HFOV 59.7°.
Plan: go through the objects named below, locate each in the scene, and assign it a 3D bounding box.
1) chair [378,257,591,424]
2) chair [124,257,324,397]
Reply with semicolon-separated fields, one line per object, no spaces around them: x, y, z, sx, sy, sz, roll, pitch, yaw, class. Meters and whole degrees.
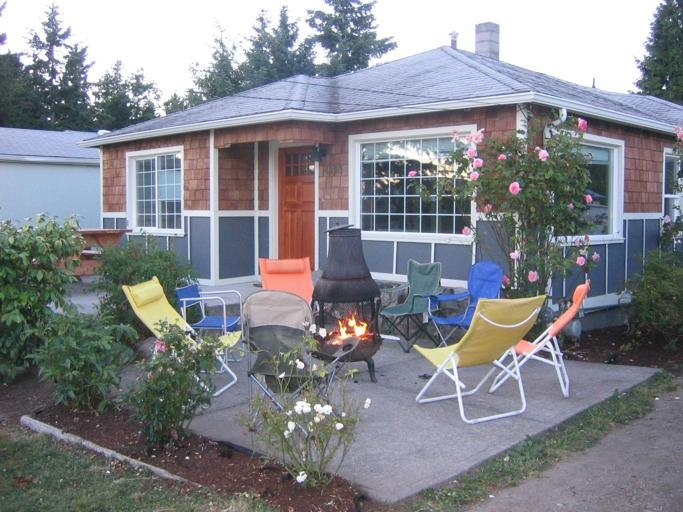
1.614;0.879;5.897;1.047;1.185;1.842;8;11;42;chair
-1.379;0.708;6.911;1.094;1.103;2.886;4;9;25;chair
